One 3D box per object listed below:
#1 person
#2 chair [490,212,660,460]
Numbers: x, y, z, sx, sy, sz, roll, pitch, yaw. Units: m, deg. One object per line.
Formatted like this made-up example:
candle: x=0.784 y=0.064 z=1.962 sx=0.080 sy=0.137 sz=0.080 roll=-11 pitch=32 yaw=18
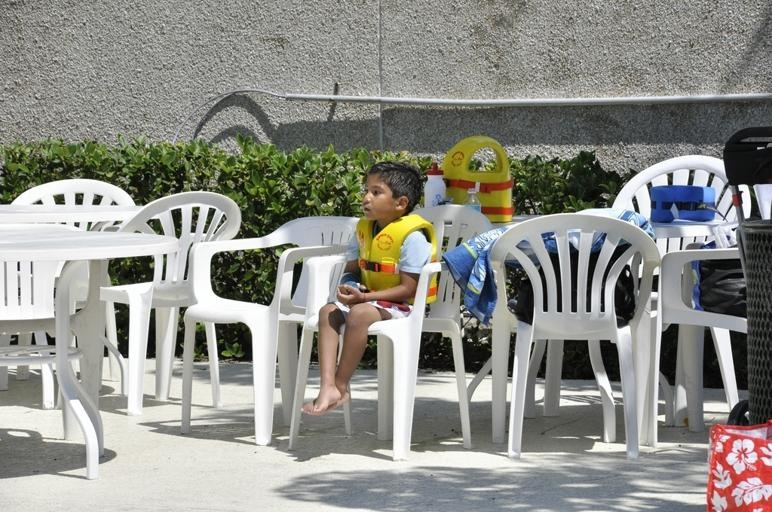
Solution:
person: x=-0.080 y=0.164 z=6.323 sx=0.764 sy=1.593 sz=0.459 roll=1 pitch=-5 yaw=-2
chair: x=1.107 y=0.497 z=6.719 sx=1.212 sy=1.884 sz=1.303 roll=1 pitch=-1 yaw=7
